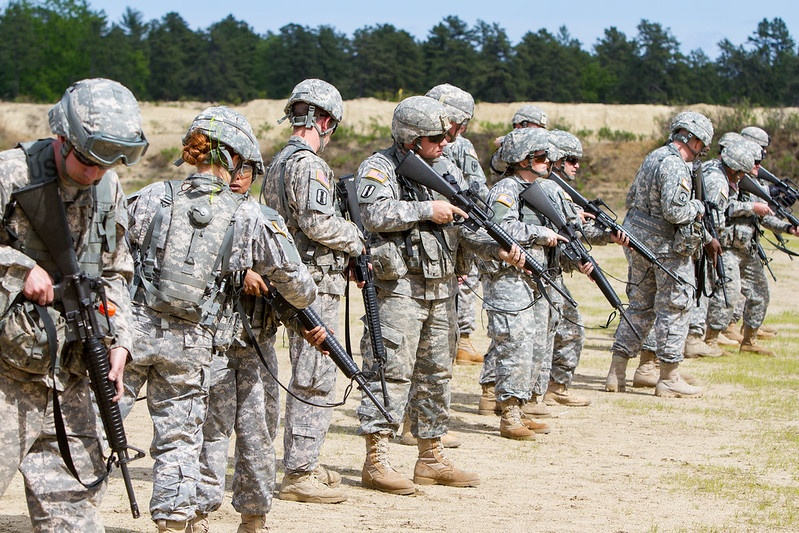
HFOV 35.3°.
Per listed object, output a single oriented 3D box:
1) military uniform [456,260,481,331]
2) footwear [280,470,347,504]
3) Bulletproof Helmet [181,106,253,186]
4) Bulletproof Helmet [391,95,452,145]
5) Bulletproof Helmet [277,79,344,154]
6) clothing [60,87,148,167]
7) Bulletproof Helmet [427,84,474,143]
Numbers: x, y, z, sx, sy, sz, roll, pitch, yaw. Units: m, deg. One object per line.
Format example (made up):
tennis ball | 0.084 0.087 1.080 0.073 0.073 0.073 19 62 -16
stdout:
military uniform | 0.926 0.468 16.835 0.334 1.159 0.396 2 -1 11
footwear | -0.873 2.180 12.305 0.725 0.314 0.258 2 0 -6
Bulletproof Helmet | -1.571 -1.062 11.273 0.651 0.541 0.516 22 -12 -15
Bulletproof Helmet | 0.222 -1.467 12.502 0.545 0.399 0.476 0 19 7
Bulletproof Helmet | -0.869 -1.507 12.499 0.647 0.672 0.529 19 -12 -36
clothing | -2.406 -1.170 10.233 0.686 0.687 0.434 -1 13 -14
Bulletproof Helmet | 0.499 -1.657 13.776 0.669 0.674 0.602 9 6 4
